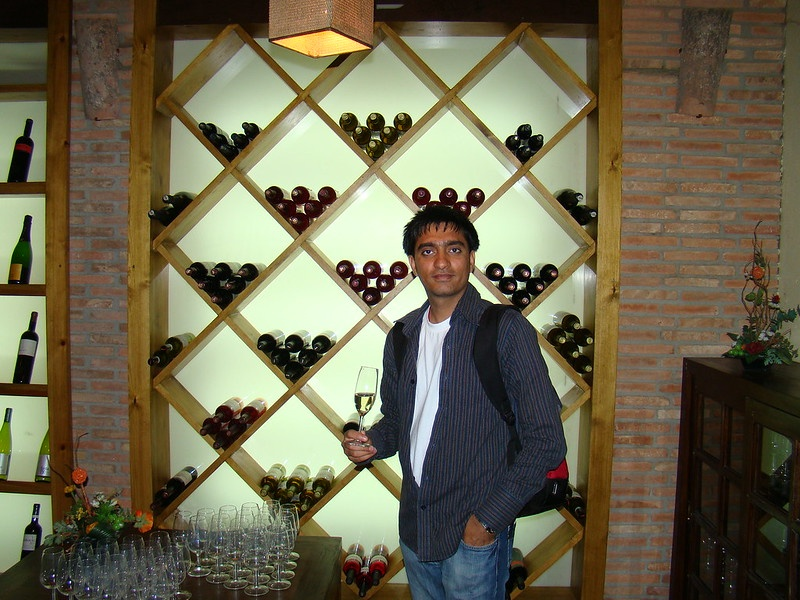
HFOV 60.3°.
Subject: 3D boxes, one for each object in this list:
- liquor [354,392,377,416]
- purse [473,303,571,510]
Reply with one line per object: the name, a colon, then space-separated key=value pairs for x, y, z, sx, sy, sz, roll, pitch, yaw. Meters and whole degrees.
liquor: x=-0.156 y=0.485 z=3.195 sx=0.101 sy=0.173 sz=0.107 roll=2 pitch=5 yaw=3
purse: x=0.546 y=0.467 z=2.970 sx=0.456 sy=0.907 sz=0.176 roll=7 pitch=-13 yaw=-23
